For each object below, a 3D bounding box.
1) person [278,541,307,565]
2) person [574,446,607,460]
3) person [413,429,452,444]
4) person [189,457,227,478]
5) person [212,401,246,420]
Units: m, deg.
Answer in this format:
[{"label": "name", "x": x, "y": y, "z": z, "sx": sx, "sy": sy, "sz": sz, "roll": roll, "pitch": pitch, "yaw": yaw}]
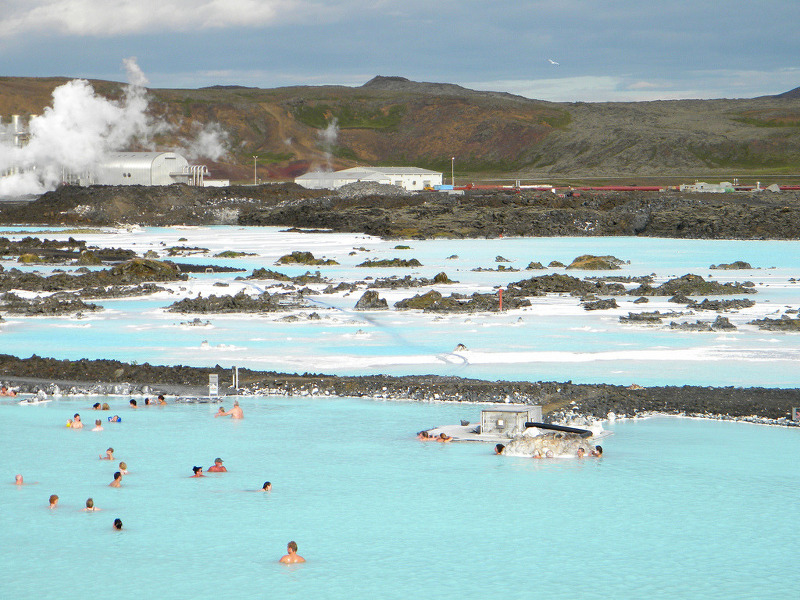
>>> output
[{"label": "person", "x": -3.208, "y": 7.400, "z": 46.088, "sx": 0.646, "sy": 0.283, "sz": 0.726, "roll": 1, "pitch": 24, "yaw": -3}, {"label": "person", "x": 6.256, "y": 5.034, "z": 51.780, "sx": 0.962, "sy": 0.361, "sz": 0.638, "roll": 2, "pitch": 10, "yaw": 12}, {"label": "person", "x": 1.111, "y": 4.582, "z": 52.814, "sx": 1.269, "sy": 0.288, "sz": 0.582, "roll": 2, "pitch": 10, "yaw": 9}, {"label": "person", "x": -6.251, "y": 5.386, "z": 50.800, "sx": 1.282, "sy": 0.457, "sz": 1.066, "roll": -4, "pitch": 10, "yaw": -23}, {"label": "person", "x": -6.040, "y": 3.975, "z": 55.596, "sx": 1.088, "sy": 0.548, "sz": 0.587, "roll": 3, "pitch": -2, "yaw": 20}]
